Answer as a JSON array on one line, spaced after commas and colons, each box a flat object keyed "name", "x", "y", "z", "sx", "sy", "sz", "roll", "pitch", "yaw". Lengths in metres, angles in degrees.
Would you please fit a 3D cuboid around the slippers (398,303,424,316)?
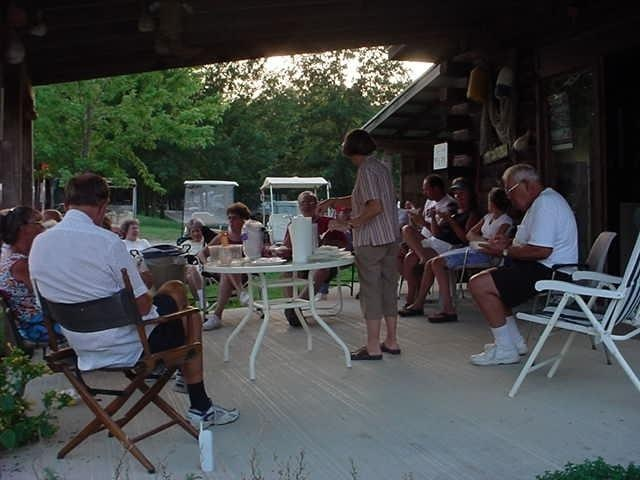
[{"name": "slippers", "x": 1.104, "y": 0.868, "z": 6.475, "sx": 0.337, "sy": 0.123, "sz": 0.123, "roll": 3, "pitch": -6, "yaw": -16}]

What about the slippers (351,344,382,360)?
[{"name": "slippers", "x": 0.408, "y": 1.010, "z": 4.760, "sx": 0.290, "sy": 0.117, "sz": 0.109, "roll": 2, "pitch": -3, "yaw": 3}]

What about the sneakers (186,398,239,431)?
[{"name": "sneakers", "x": -0.690, "y": 1.176, "z": 3.528, "sx": 0.366, "sy": 0.164, "sz": 0.194, "roll": -4, "pitch": 7, "yaw": -23}]

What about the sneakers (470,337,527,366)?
[{"name": "sneakers", "x": 1.506, "y": 0.957, "z": 4.583, "sx": 0.508, "sy": 0.232, "sz": 0.204, "roll": -1, "pitch": 1, "yaw": 0}]

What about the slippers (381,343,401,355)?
[{"name": "slippers", "x": 0.645, "y": 1.007, "z": 4.920, "sx": 0.075, "sy": 0.079, "sz": 0.199, "roll": -3, "pitch": 2, "yaw": -43}]

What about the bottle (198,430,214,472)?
[{"name": "bottle", "x": -0.616, "y": 1.138, "z": 2.891, "sx": 0.067, "sy": 0.240, "sz": 0.119, "roll": -5, "pitch": 9, "yaw": -17}]

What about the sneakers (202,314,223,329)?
[{"name": "sneakers", "x": -1.229, "y": 0.945, "z": 6.066, "sx": 0.096, "sy": 0.143, "sz": 0.295, "roll": 0, "pitch": -8, "yaw": 28}]

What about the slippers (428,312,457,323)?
[{"name": "slippers", "x": 1.397, "y": 0.886, "z": 6.050, "sx": 0.245, "sy": 0.089, "sz": 0.129, "roll": 1, "pitch": -2, "yaw": -8}]

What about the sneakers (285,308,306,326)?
[{"name": "sneakers", "x": -0.293, "y": 0.887, "z": 6.092, "sx": 0.170, "sy": 0.235, "sz": 0.230, "roll": -18, "pitch": -29, "yaw": -14}]
